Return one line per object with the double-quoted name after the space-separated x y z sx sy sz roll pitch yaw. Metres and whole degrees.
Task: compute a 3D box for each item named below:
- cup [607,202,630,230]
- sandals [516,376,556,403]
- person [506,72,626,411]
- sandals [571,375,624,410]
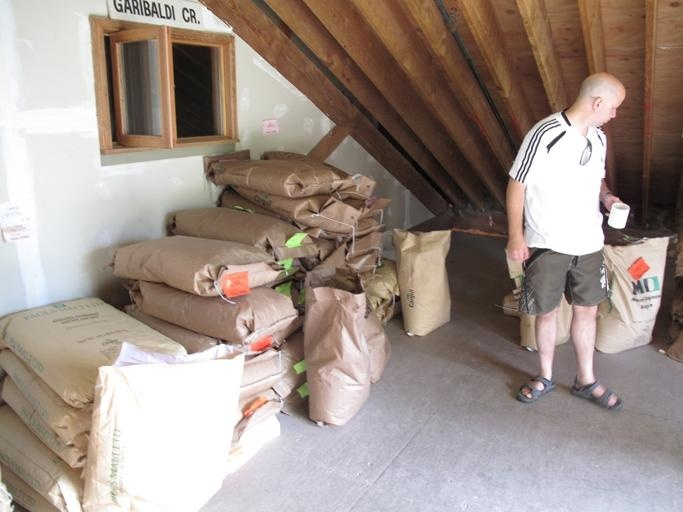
1.444 -0.218 2.646 0.123 0.126 0.188 7 31 18 "cup"
1.062 0.741 2.742 0.232 0.076 0.100 -20 34 -28 "sandals"
1.166 0.043 2.610 0.559 1.531 0.446 -2 21 14 "person"
1.366 0.759 2.686 0.250 0.099 0.110 19 47 35 "sandals"
